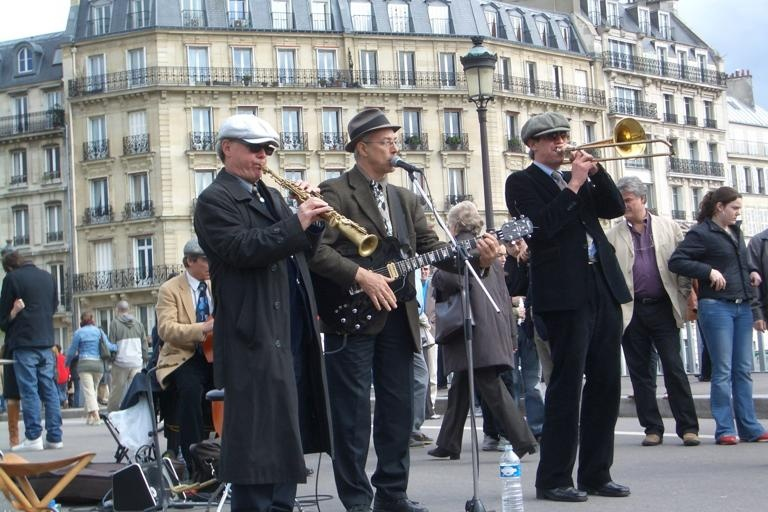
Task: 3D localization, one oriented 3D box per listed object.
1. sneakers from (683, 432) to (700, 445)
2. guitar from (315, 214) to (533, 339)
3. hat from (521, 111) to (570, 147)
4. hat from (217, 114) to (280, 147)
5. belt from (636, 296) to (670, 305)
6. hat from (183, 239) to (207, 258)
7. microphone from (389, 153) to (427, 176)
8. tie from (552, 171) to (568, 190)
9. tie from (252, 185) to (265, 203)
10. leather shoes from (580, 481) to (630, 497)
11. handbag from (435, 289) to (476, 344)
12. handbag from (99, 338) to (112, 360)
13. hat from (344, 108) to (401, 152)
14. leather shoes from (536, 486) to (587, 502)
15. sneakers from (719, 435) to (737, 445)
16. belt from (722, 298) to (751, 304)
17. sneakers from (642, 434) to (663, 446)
[{"bbox_3d":[5.175,3.084,22.328,0.336,0.122,0.138,9,-8,-41],"label":"sneakers"},{"bbox_3d":[0.592,0.308,20.101,2.234,0.731,0.263,-16,-1,-13],"label":"guitar"},{"bbox_3d":[2.347,-1.875,19.670,0.618,0.245,0.473,-22,-11,39],"label":"hat"},{"bbox_3d":[-1.878,-1.769,18.659,0.691,0.297,0.484,-2,5,-1],"label":"hat"},{"bbox_3d":[4.599,0.749,22.593,0.573,0.144,0.056,-4,-5,4],"label":"belt"},{"bbox_3d":[-3.057,-0.133,21.437,0.527,0.251,0.348,-9,-9,39],"label":"hat"},{"bbox_3d":[0.206,-1.350,19.520,0.735,0.208,0.231,21,24,37],"label":"microphone"},{"bbox_3d":[2.614,-1.130,19.575,0.184,0.280,0.071,-9,-7,-31],"label":"tie"},{"bbox_3d":[-1.751,-0.868,18.666,0.067,0.164,0.238,-35,-54,22],"label":"tie"},{"bbox_3d":[3.296,3.409,19.639,0.680,0.240,0.238,-4,-1,9],"label":"leather shoes"},{"bbox_3d":[1.195,0.990,21.309,0.290,0.662,0.732,23,-45,-36],"label":"handbag"},{"bbox_3d":[-6.612,2.210,31.620,0.189,0.387,0.386,-20,-16,-25],"label":"handbag"},{"bbox_3d":[-0.266,-1.906,19.757,0.706,0.263,0.616,-27,-4,17],"label":"hat"},{"bbox_3d":[2.608,3.467,19.395,0.612,0.201,0.249,-3,-5,15],"label":"leather shoes"},{"bbox_3d":[5.771,3.079,22.240,0.345,0.132,0.126,-5,-7,7],"label":"sneakers"},{"bbox_3d":[6.012,0.758,22.527,0.508,0.127,0.071,-2,-5,-12],"label":"belt"},{"bbox_3d":[4.537,3.107,22.432,0.162,0.139,0.378,-1,1,32],"label":"sneakers"}]
